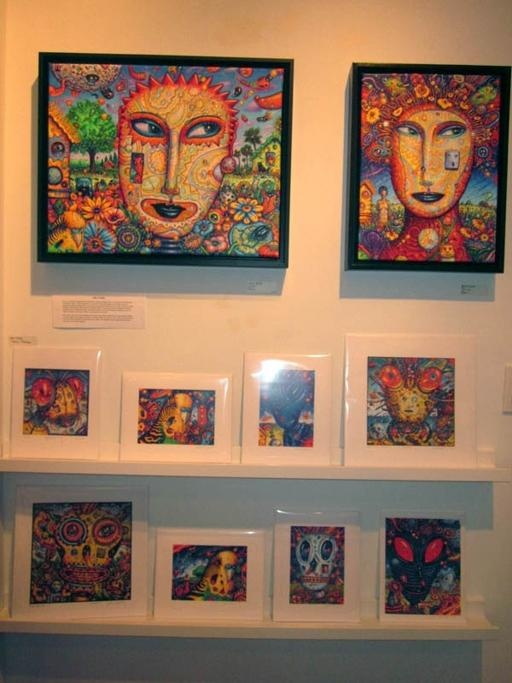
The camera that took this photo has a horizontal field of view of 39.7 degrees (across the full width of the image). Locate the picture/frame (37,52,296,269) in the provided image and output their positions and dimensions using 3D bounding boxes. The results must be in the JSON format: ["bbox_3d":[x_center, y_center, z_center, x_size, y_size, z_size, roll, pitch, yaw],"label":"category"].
[{"bbox_3d":[-0.305,-0.601,2.280,0.701,0.531,0.029,1,-1,-2],"label":"picture/frame"}]

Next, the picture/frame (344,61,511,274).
[{"bbox_3d":[0.557,-0.567,2.289,0.685,0.871,0.040,1,-1,-3],"label":"picture/frame"}]
